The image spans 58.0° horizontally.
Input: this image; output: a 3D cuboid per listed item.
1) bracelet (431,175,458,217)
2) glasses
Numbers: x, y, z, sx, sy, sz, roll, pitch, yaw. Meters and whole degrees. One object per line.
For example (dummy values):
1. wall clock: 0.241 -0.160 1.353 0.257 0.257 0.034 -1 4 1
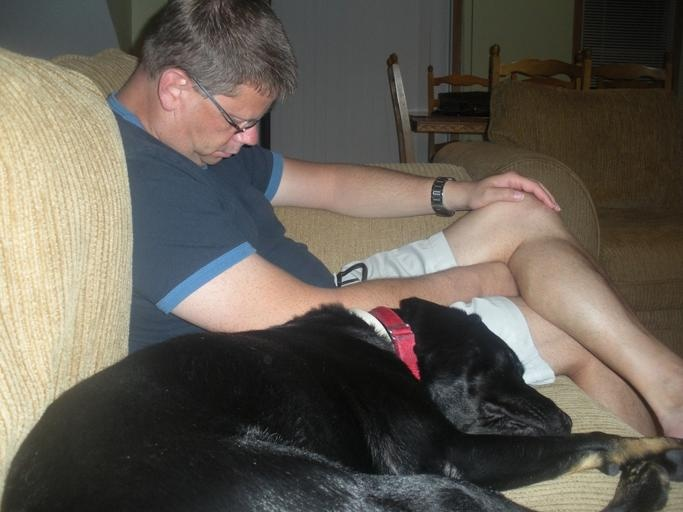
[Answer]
1. bracelet: 0.270 -0.167 1.721 0.058 0.111 0.108 -2 30 25
2. glasses: -0.252 -0.303 1.276 0.028 0.108 0.079 -37 2 -1
